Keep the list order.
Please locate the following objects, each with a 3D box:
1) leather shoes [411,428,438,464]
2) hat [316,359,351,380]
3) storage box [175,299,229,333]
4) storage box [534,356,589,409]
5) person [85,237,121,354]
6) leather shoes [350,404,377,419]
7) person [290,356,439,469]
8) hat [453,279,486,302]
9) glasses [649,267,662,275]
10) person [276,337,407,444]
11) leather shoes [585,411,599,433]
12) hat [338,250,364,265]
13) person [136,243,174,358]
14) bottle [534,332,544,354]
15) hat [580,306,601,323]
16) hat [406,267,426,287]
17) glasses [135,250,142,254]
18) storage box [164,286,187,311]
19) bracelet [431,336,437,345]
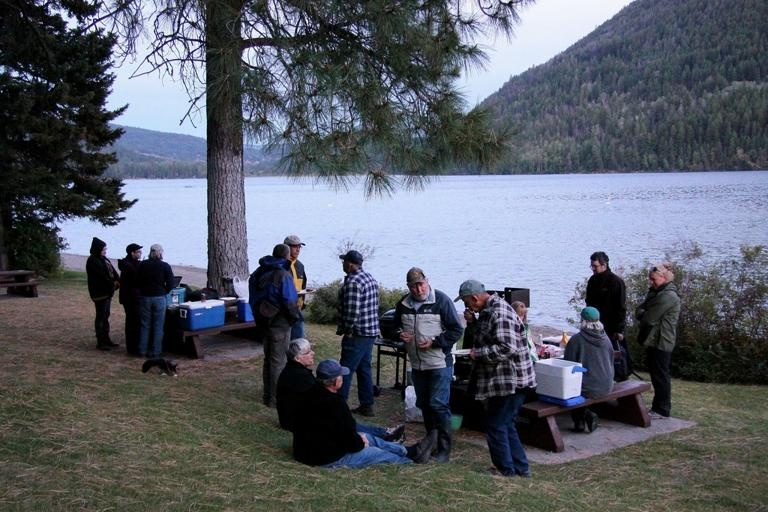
[{"bbox_3d":[0.533,2.549,9.097,0.237,0.203,0.588,23,43,9],"label":"leather shoes"},{"bbox_3d":[-0.663,1.446,8.728,0.342,0.183,0.223,-12,17,-37],"label":"hat"},{"bbox_3d":[-3.310,0.897,12.343,0.850,0.561,0.477,-2,1,-42],"label":"storage box"},{"bbox_3d":[2.489,1.808,9.820,0.433,0.553,0.743,0,2,-36],"label":"storage box"},{"bbox_3d":[-5.286,0.670,12.820,0.534,2.075,1.094,1,7,-24],"label":"person"},{"bbox_3d":[-0.329,2.392,10.676,0.155,0.184,0.404,-2,8,-41],"label":"leather shoes"},{"bbox_3d":[-0.342,2.053,9.313,1.925,1.455,1.114,0,3,-24],"label":"person"},{"bbox_3d":[1.105,0.445,8.863,0.350,0.208,0.258,-13,9,18],"label":"hat"},{"bbox_3d":[4.352,0.235,10.946,0.190,0.150,0.256,3,-1,-6],"label":"glasses"},{"bbox_3d":[-0.617,1.680,9.682,2.005,1.599,1.033,0,3,-25],"label":"person"},{"bbox_3d":[3.134,2.482,10.311,0.147,0.371,0.132,8,27,45],"label":"leather shoes"},{"bbox_3d":[-0.486,0.012,10.263,0.285,0.155,0.194,20,19,26],"label":"hat"},{"bbox_3d":[-4.005,0.797,11.928,0.584,1.979,0.336,2,6,-21],"label":"person"},{"bbox_3d":[2.987,1.689,13.206,0.185,0.368,0.515,4,46,11],"label":"bottle"},{"bbox_3d":[3.007,0.841,10.037,0.178,0.148,0.251,3,17,4],"label":"hat"},{"bbox_3d":[0.427,0.285,9.390,0.182,0.170,0.283,-16,-3,5],"label":"hat"},{"bbox_3d":[-4.402,-0.065,12.198,0.063,0.051,0.084,5,23,-41],"label":"glasses"},{"bbox_3d":[-3.864,0.755,12.720,0.339,0.388,0.351,1,-7,-1],"label":"storage box"},{"bbox_3d":[0.678,1.130,9.180,0.070,0.102,0.060,-4,-24,2],"label":"bracelet"}]
